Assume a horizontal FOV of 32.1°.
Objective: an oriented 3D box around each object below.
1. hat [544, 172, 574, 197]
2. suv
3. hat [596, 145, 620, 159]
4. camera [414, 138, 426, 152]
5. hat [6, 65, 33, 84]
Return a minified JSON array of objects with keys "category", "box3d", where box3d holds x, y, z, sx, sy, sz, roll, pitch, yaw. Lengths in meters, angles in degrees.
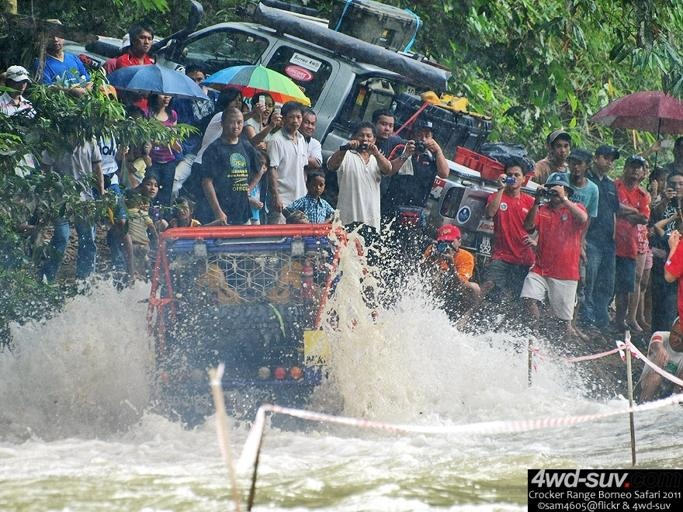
[{"category":"hat","box3d":[2.714,-0.896,14.730,0.303,0.204,0.330,9,-1,-13]},{"category":"suv","box3d":[-1.073,0.466,13.418,1.616,1.562,2.275,-1,18,-3]},{"category":"hat","box3d":[3.407,-1.377,15.374,0.187,0.158,0.276,6,0,-22]},{"category":"camera","box3d":[0.938,-1.310,14.035,0.117,0.134,0.121,6,21,21]},{"category":"hat","box3d":[-3.571,-2.014,13.162,0.257,0.174,0.195,4,4,37]}]
